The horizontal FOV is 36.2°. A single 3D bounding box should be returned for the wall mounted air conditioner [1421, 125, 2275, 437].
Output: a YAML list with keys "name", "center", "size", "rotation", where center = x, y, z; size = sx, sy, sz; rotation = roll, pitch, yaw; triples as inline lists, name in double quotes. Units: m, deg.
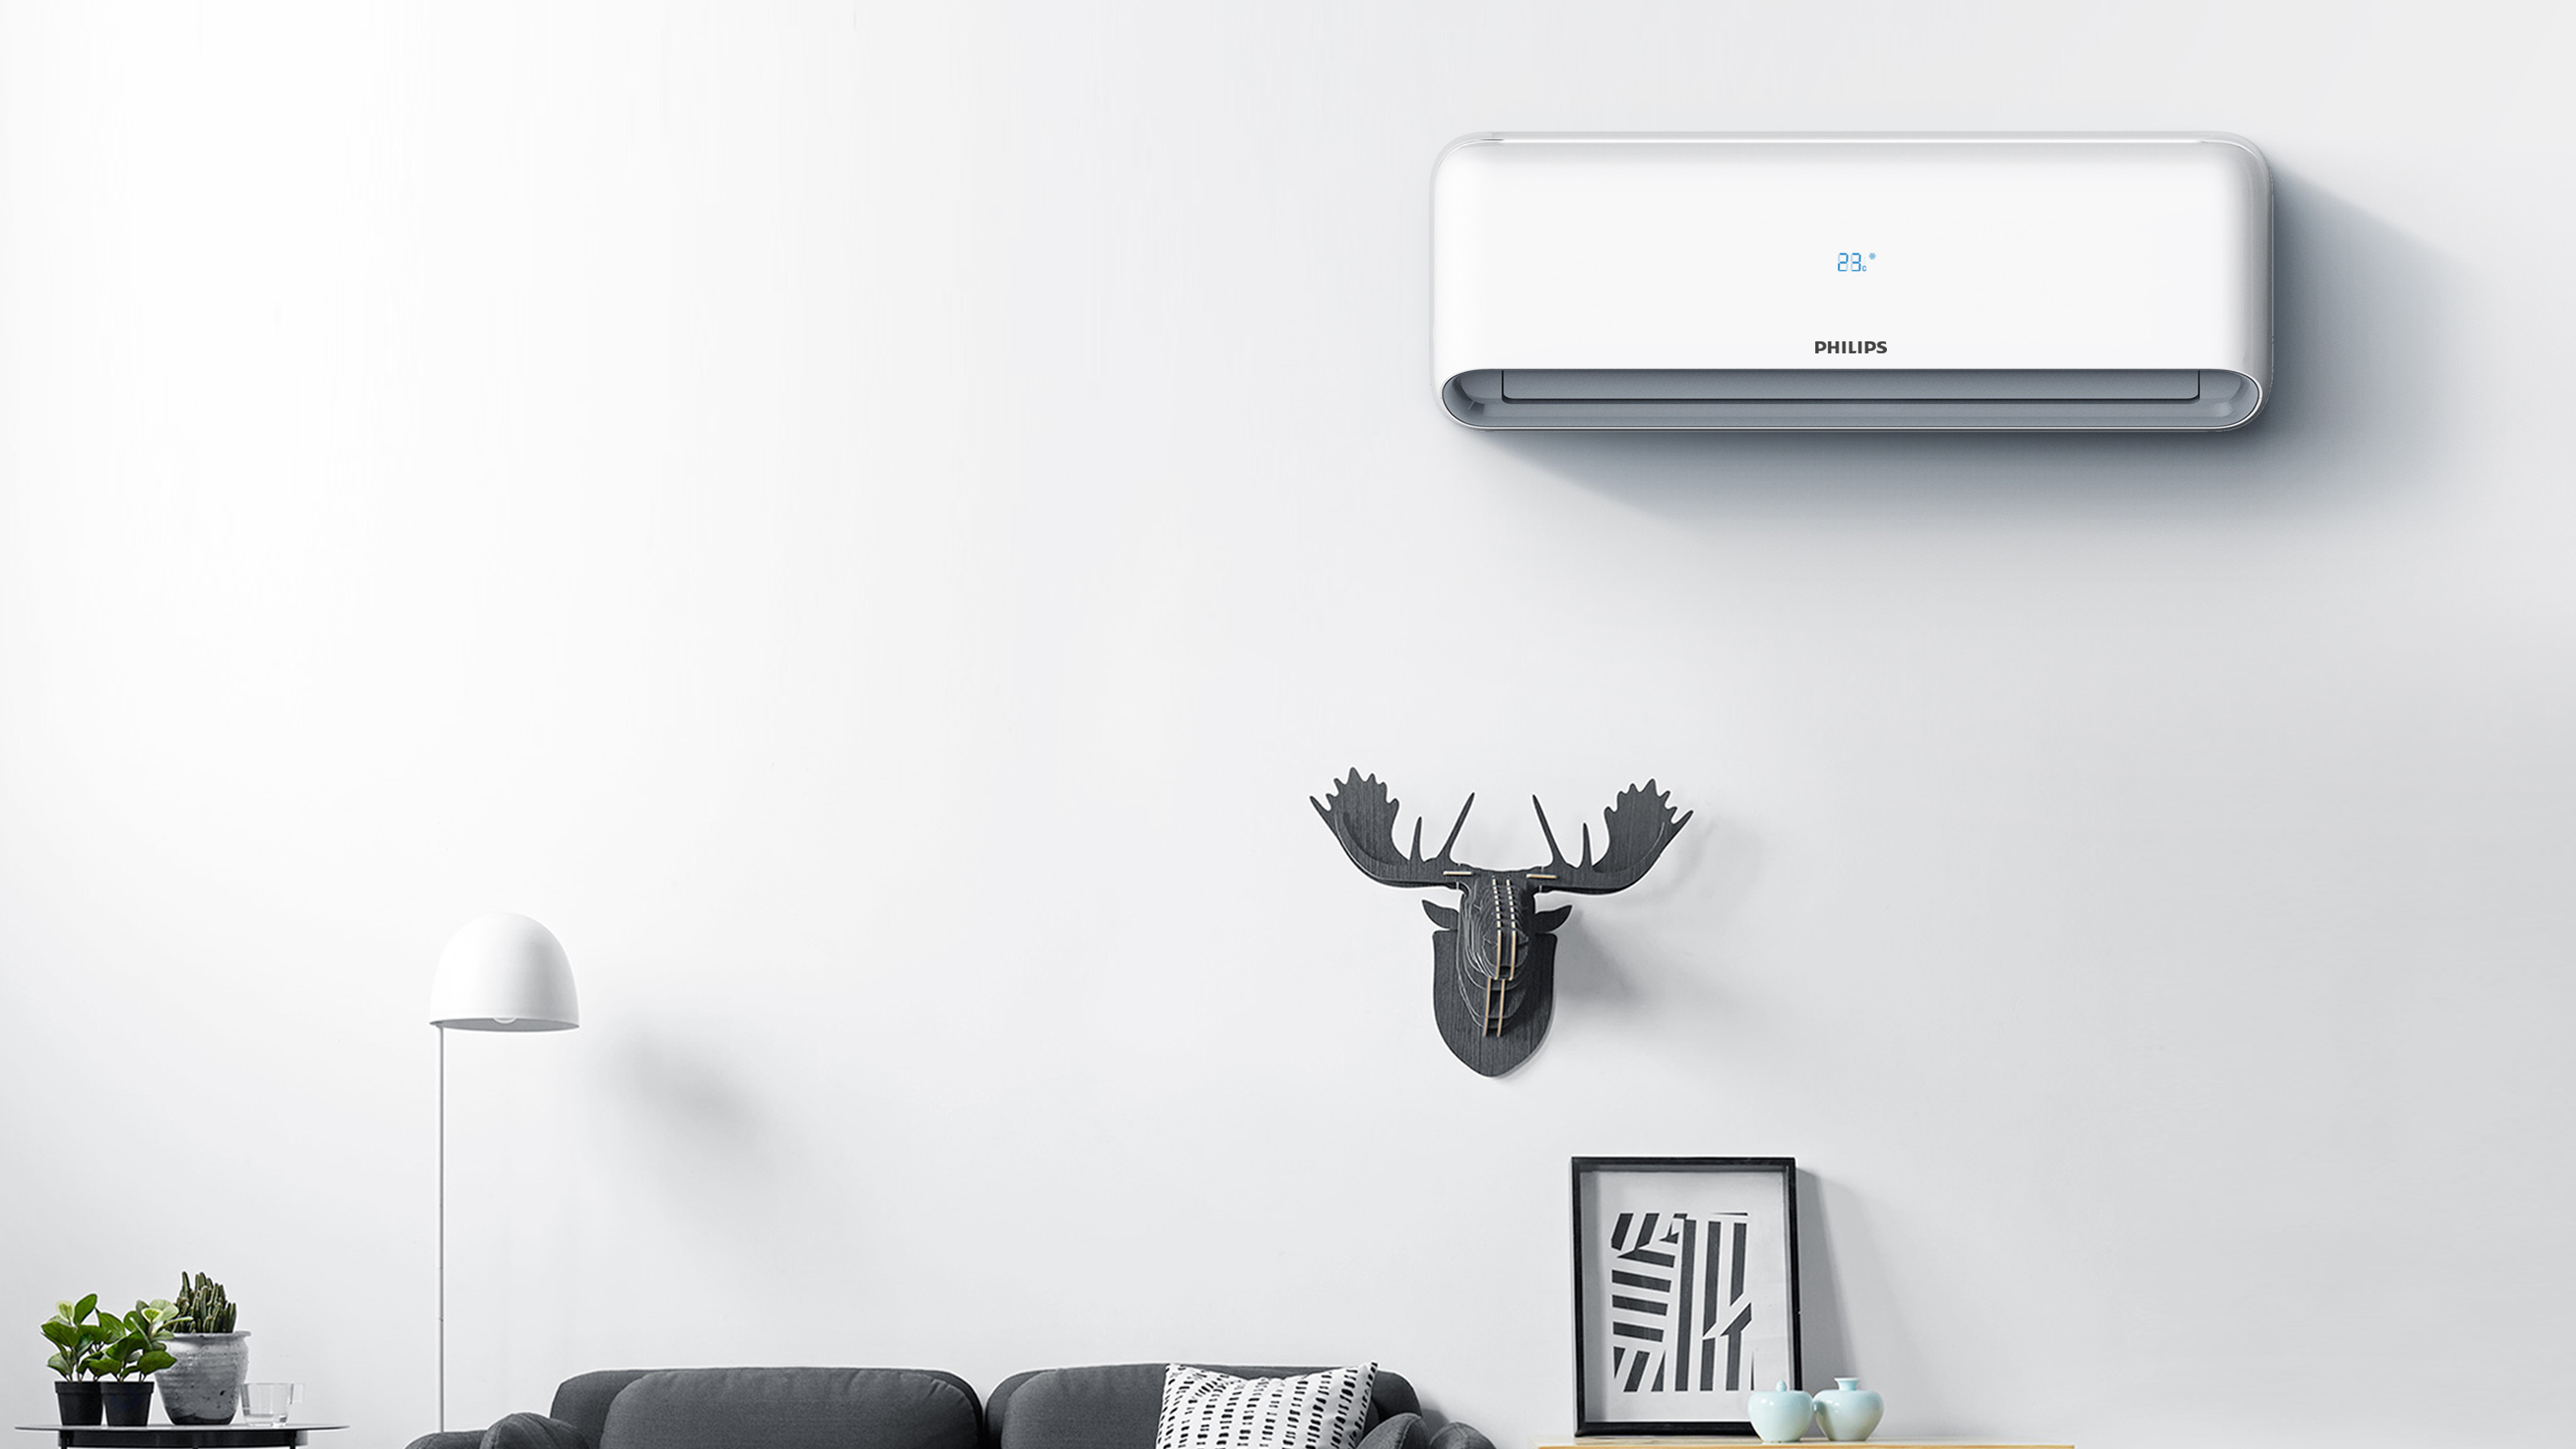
- name: "wall mounted air conditioner"
  center: [1.496, -1.170, 10.576]
  size: [2.206, 0.764, 0.291]
  rotation: [2, -14, 1]

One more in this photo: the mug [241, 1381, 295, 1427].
- name: "mug"
  center: [-2.670, 1.780, 10.342]
  size: [0.091, 0.087, 0.120]
  rotation: [-10, -16, 35]

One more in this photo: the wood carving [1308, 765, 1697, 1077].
- name: "wood carving"
  center: [0.561, 0.528, 10.648]
  size: [0.924, 0.874, 0.256]
  rotation: [3, 18, 4]

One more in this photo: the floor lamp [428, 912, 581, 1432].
- name: "floor lamp"
  center: [-2.115, 1.133, 10.515]
  size: [0.379, 1.188, 0.528]
  rotation: [5, -15, -11]

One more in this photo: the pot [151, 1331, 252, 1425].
- name: "pot"
  center: [-2.857, 1.713, 10.392]
  size: [0.240, 0.234, 0.258]
  rotation: [0, -4, 0]

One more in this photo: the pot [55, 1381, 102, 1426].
- name: "pot"
  center: [-3.151, 1.768, 10.280]
  size: [0.107, 0.086, 0.110]
  rotation: [-1, -14, 0]

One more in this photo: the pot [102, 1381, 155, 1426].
- name: "pot"
  center: [-3.024, 1.771, 10.278]
  size: [0.113, 0.091, 0.116]
  rotation: [-1, -15, 0]

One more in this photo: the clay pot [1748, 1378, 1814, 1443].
- name: "clay pot"
  center: [1.293, 1.814, 10.402]
  size: [0.141, 0.130, 0.137]
  rotation: [0, -13, 0]

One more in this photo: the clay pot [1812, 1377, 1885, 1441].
- name: "clay pot"
  center: [1.478, 1.808, 10.339]
  size: [0.163, 0.139, 0.159]
  rotation: [0, -14, 0]
